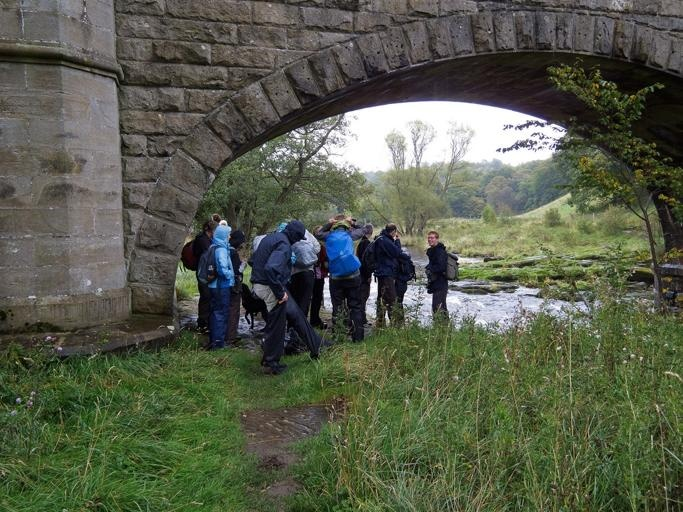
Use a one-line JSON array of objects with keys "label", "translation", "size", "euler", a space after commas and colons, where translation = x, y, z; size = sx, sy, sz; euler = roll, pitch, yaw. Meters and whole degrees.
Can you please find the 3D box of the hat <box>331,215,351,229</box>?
[{"label": "hat", "translation": [-0.008, -0.620, 8.800], "size": [0.234, 0.142, 0.314], "euler": [0, -2, 4]}]
